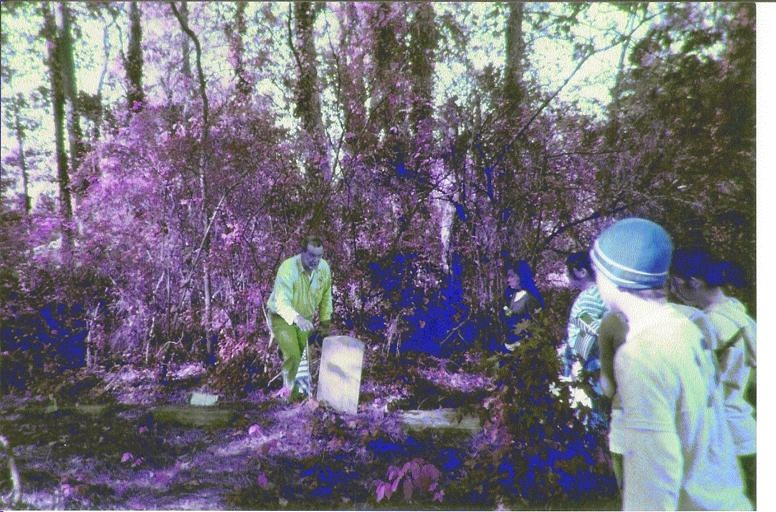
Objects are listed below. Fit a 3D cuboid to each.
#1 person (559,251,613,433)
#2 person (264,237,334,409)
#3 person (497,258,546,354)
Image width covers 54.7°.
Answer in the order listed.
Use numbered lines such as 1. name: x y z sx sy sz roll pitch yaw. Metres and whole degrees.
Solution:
1. person: 2.142 0.842 8.514 0.622 1.989 0.628 1 35 4
2. person: -1.011 0.716 8.605 0.750 1.822 0.197 1 -1 -10
3. person: 1.425 0.601 8.628 0.704 1.191 0.295 4 27 6
